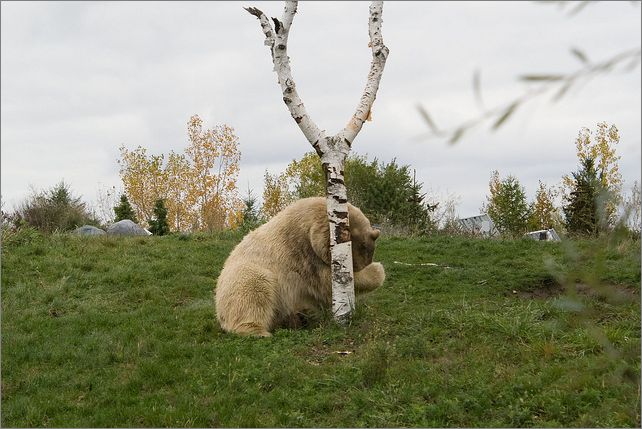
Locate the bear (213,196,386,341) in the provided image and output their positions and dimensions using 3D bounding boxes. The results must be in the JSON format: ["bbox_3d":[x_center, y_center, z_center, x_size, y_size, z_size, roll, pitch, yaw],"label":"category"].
[{"bbox_3d":[-0.913,1.018,15.471,2.280,2.592,1.149,-6,-1,-3],"label":"bear"}]
